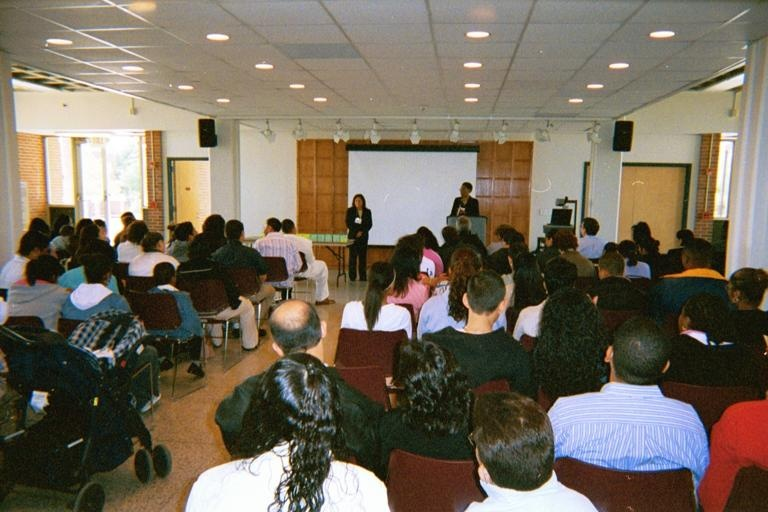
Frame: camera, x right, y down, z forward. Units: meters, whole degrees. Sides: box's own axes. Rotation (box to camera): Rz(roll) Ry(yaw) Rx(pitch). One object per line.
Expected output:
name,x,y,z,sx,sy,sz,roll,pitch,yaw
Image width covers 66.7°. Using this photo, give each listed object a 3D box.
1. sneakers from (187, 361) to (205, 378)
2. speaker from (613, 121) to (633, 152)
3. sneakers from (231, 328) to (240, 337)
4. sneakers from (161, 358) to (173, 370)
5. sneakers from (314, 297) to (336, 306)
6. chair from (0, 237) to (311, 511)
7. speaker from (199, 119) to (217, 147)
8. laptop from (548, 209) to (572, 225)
sneakers,-2.153,1.295,6.693,0.128,0.183,0.256,4,1,6
speaker,4.492,-2.255,11.044,0.274,0.581,0.384,-9,16,-26
sneakers,-2.063,1.074,8.063,0.092,0.086,0.119,-1,-5,1
sneakers,-2.392,1.183,6.434,0.131,0.146,0.134,0,2,0
sneakers,-1.014,0.784,9.997,0.364,0.156,0.123,-3,5,-20
chair,-1.973,0.973,4.883,1.056,1.693,1.222,2,21,-5
speaker,-3.441,-2.376,11.377,0.397,0.571,0.287,-10,17,-28
laptop,3.551,-0.794,11.732,0.448,0.438,0.362,6,14,23
